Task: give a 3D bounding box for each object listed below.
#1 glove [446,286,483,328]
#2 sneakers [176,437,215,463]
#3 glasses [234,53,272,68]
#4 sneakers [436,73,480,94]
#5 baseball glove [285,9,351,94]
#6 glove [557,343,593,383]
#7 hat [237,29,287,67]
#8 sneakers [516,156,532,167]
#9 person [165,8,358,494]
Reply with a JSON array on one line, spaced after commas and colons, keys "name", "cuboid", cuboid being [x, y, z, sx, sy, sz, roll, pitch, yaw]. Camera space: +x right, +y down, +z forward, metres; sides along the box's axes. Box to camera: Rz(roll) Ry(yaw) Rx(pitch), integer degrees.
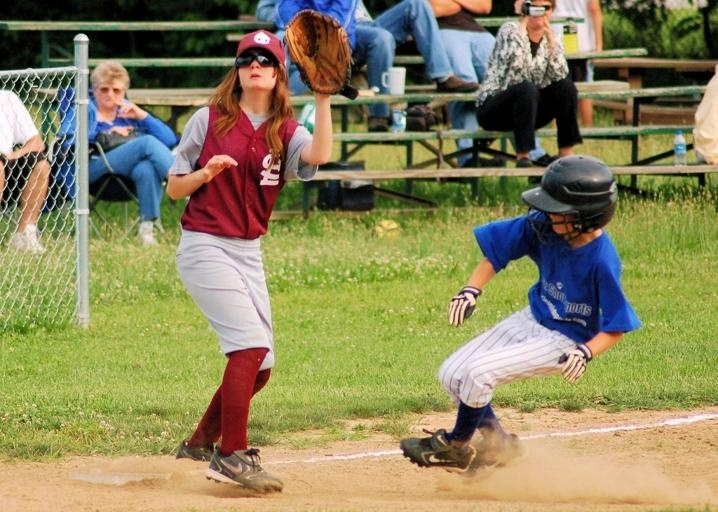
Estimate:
[{"name": "glove", "cuboid": [0.910, 0.441, 13.500, 0.219, 0.376, 0.110, 29, -20, 12]}, {"name": "sneakers", "cuboid": [-1.434, 1.731, 13.633, 0.381, 0.172, 0.143, 2, 3, 3]}, {"name": "glasses", "cuboid": [-0.900, -1.706, 13.269, 0.319, 0.123, 0.063, 0, 6, -7]}, {"name": "sneakers", "cuboid": [1.164, -2.125, 18.726, 0.581, 0.246, 0.203, -1, 9, 8]}, {"name": "baseball glove", "cuboid": [-0.326, -1.753, 13.204, 0.624, 0.750, 0.262, 0, 6, -3]}, {"name": "glove", "cuboid": [1.852, 0.899, 13.254, 0.248, 0.303, 0.238, 0, 6, -7]}, {"name": "hat", "cuboid": [-0.789, -1.882, 13.439, 0.401, 0.307, 0.662, -3, -6, -2]}, {"name": "sneakers", "cuboid": [1.949, -1.142, 18.311, 0.126, 0.113, 0.285, 0, -2, 5]}, {"name": "person", "cuboid": [-0.974, -0.060, 13.329, 1.356, 4.149, 0.654, 0, 6, -9]}]
